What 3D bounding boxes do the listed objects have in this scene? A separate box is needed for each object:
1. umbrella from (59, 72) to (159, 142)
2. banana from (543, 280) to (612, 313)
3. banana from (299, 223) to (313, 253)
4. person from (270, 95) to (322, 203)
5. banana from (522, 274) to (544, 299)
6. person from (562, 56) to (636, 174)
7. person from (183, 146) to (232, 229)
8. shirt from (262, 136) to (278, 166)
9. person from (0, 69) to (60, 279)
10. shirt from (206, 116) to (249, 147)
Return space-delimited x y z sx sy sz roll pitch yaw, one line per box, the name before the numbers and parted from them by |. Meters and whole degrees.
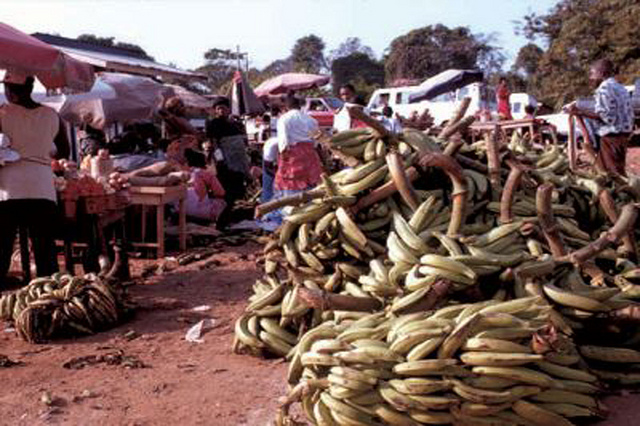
umbrella | -3.804 -2.001 9.485 1.337 1.280 0.444 -7 -40 -14
banana | 1.619 0.535 3.268 0.329 0.118 0.076 13 -41 7
banana | -0.092 0.186 3.867 0.057 0.209 0.073 -15 -37 38
person | -0.334 -0.961 7.577 0.692 1.497 0.388 -3 13 -4
banana | 1.352 0.458 3.240 0.128 0.165 0.049 3 -26 -23
person | 3.602 -1.234 6.564 0.644 1.433 1.320 6 14 29
person | -2.013 -0.408 8.873 0.695 1.203 0.591 -15 10 -40
shirt | -0.759 -1.017 8.366 0.291 0.369 0.380 5 4 16
person | -3.138 -0.389 5.578 0.669 2.224 0.505 -5 13 -13
shirt | -1.683 -1.499 9.306 0.694 0.484 0.723 -4 12 -12
